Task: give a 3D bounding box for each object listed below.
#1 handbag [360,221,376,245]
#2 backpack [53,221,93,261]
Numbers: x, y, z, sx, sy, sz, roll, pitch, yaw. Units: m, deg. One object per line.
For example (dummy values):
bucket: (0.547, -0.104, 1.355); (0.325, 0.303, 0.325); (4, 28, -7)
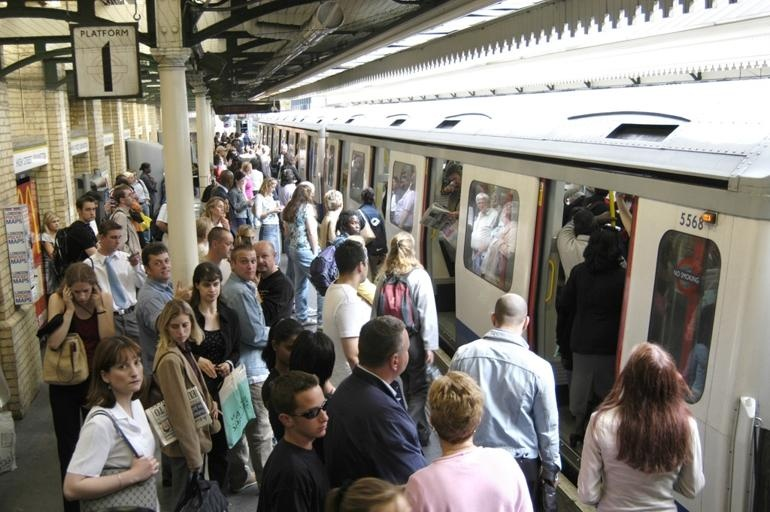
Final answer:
handbag: (-0.250, -0.393, 8.549); (0.177, 0.287, 0.327); (-18, 36, 3)
backpack: (-3.865, -0.162, 6.964); (0.487, 0.520, 0.517); (3, 6, -17)
